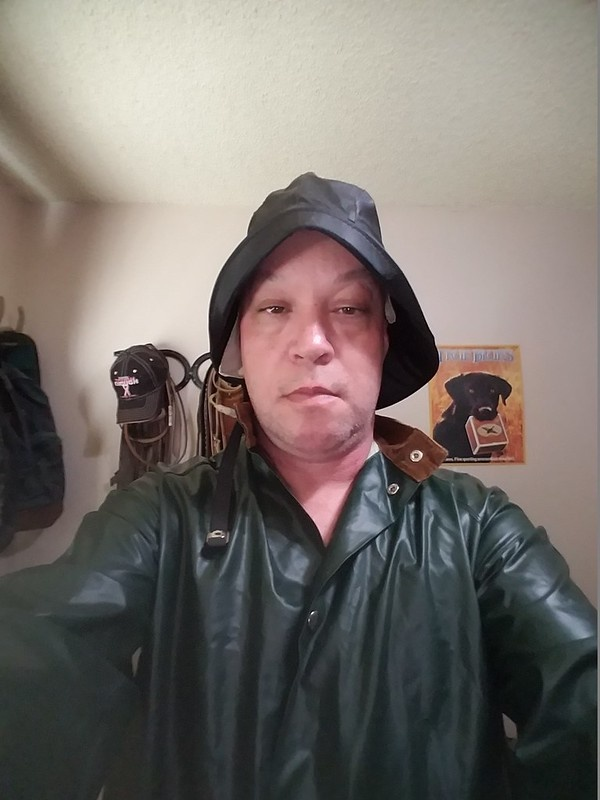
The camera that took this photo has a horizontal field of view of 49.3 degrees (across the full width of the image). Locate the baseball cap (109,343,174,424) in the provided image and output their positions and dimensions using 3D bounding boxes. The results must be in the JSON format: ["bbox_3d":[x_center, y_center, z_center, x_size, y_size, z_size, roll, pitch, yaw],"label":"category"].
[{"bbox_3d":[-0.259,-0.025,1.059,0.090,0.124,0.054,2,0,9],"label":"baseball cap"}]
